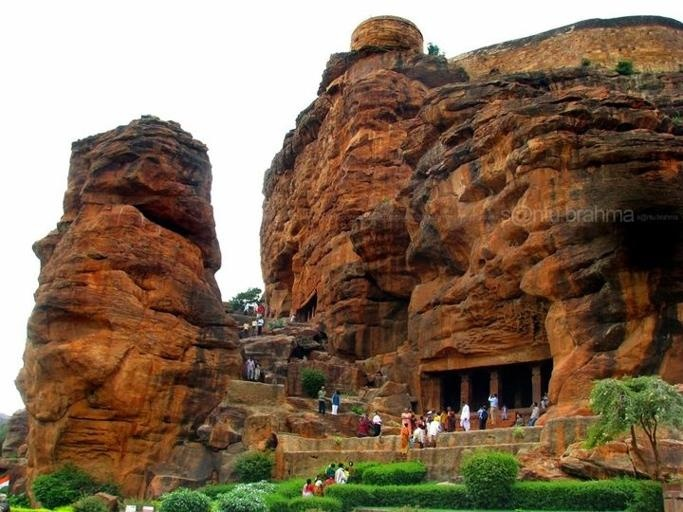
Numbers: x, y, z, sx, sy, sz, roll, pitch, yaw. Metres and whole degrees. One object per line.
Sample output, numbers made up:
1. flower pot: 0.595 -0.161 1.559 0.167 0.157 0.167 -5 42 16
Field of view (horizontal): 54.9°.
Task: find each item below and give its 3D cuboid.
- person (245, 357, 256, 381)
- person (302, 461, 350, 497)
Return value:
1. person: -4.761 5.905 34.271 0.535 1.206 1.006 4 -23 -7
2. person: -0.624 7.531 22.246 0.832 0.456 1.121 -9 5 30
